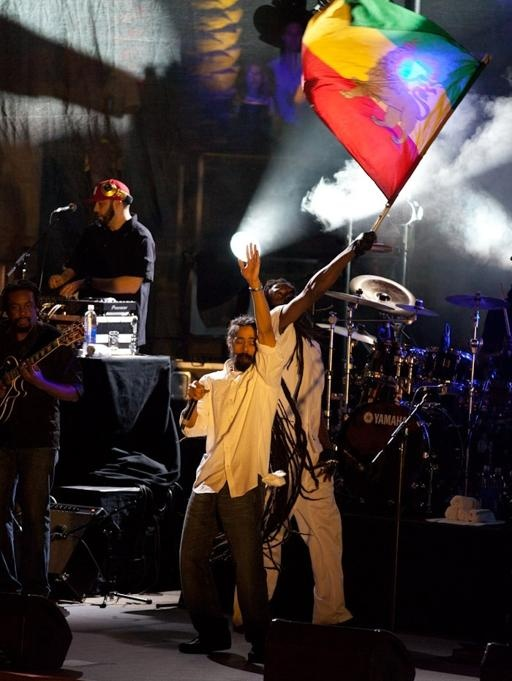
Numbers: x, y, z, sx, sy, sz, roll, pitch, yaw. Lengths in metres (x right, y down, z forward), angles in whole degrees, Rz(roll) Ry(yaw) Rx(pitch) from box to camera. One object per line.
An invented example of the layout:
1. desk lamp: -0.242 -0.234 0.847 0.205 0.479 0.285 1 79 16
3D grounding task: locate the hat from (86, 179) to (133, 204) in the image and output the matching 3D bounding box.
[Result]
1. hat: -1.086 -1.080 5.567 0.277 0.130 0.192 2 7 15

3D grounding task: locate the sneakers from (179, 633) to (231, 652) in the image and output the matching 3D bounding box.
1. sneakers: -0.246 1.432 3.608 0.273 0.092 0.090 1 -3 3

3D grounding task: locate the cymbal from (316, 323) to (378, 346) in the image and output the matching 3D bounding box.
1. cymbal: 0.811 -0.058 6.724 0.294 0.115 0.318 19 -1 -44

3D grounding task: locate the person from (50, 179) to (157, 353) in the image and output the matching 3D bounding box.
1. person: -1.111 -0.563 5.465 0.739 0.824 0.683 3 1 -2

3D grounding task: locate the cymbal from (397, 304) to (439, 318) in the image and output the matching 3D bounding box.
1. cymbal: 1.330 -0.257 6.366 0.220 0.055 0.211 8 -8 32

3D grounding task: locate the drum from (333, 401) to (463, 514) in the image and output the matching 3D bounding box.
1. drum: 1.037 0.928 5.865 1.127 0.987 0.850 -1 -10 14

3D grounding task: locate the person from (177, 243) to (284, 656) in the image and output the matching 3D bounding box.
1. person: -0.129 0.545 3.437 0.367 1.437 0.454 3 2 -28

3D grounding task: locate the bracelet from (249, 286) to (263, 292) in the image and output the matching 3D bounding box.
1. bracelet: 0.003 -0.219 3.310 0.052 0.020 0.143 3 1 -5

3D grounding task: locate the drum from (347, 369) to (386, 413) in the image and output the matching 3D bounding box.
1. drum: 0.947 0.422 6.467 0.364 0.355 0.359 14 -9 7

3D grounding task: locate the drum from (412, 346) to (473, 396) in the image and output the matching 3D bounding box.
1. drum: 1.557 0.261 6.317 0.738 0.323 0.295 3 1 -34
